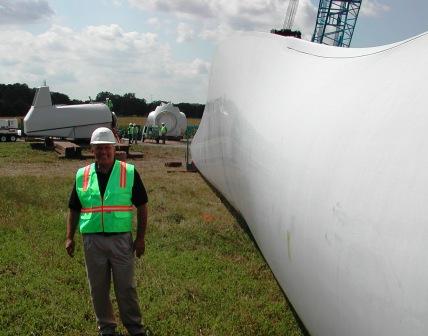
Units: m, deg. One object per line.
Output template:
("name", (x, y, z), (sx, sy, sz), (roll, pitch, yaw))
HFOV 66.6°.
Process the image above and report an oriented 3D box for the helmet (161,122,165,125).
("helmet", (-3.826, -3.212, 24.256), (0.211, 0.195, 0.238), (-1, -9, -1))
